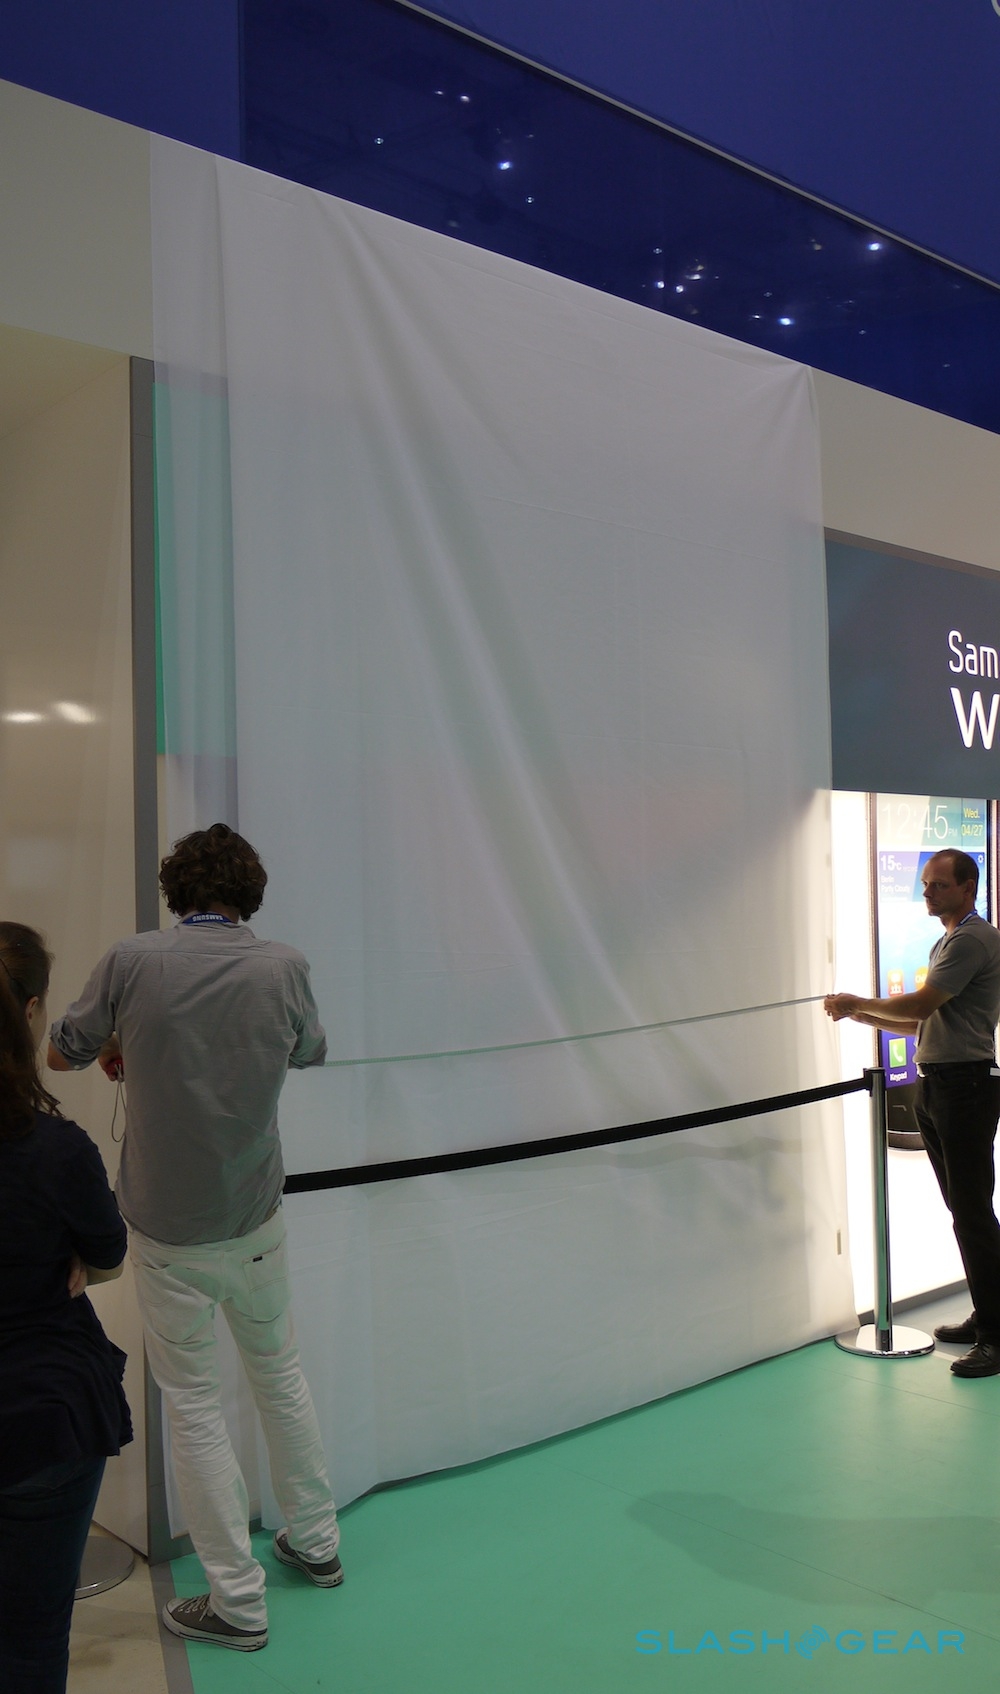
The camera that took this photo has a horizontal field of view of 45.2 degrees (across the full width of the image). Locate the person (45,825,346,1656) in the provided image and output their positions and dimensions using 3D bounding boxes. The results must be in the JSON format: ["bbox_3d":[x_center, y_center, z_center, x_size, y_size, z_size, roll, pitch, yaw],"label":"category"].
[{"bbox_3d":[-0.490,0.617,2.041,0.411,1.283,0.371,-1,1,-32],"label":"person"}]

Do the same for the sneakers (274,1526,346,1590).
[{"bbox_3d":[-0.350,1.301,2.211,0.057,0.066,0.153,5,11,-39],"label":"sneakers"}]
